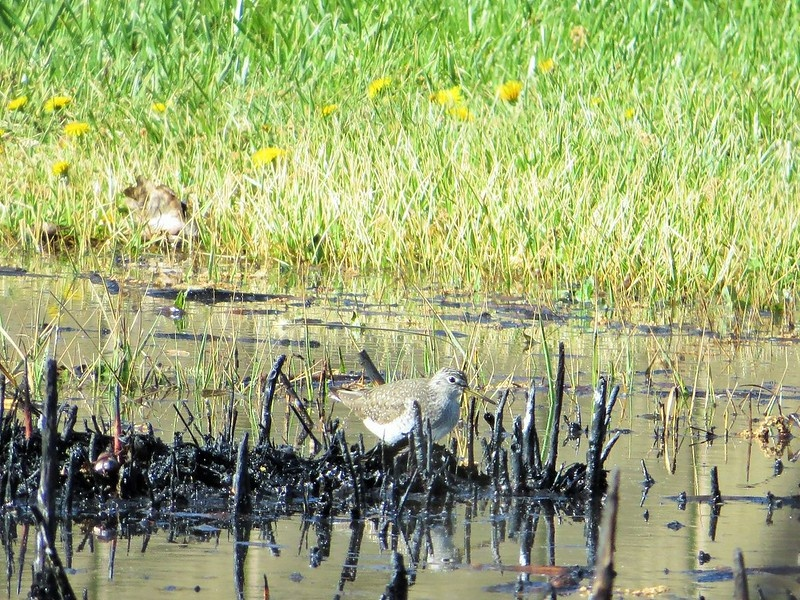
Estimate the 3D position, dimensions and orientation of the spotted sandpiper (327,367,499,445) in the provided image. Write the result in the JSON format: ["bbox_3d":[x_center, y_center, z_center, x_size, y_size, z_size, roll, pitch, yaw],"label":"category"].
[{"bbox_3d":[-0.043,0.508,6.919,0.647,0.373,0.460,-4,-7,28],"label":"spotted sandpiper"}]
